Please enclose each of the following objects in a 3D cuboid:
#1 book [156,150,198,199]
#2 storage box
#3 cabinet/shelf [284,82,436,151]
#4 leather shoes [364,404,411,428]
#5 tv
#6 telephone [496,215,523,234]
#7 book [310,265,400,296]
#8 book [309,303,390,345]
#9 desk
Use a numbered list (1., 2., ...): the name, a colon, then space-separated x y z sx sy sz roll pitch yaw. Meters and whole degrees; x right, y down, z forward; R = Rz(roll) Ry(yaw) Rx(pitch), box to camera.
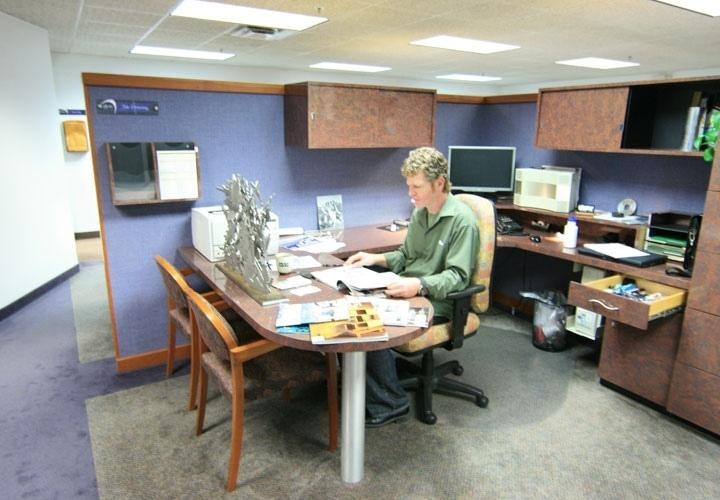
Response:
1. book: -1.522 -0.636 4.135 0.370 0.446 0.263 -8 14 -36
2. storage box: -1.042 -0.117 4.126 0.579 0.412 0.574 -7 16 -34
3. cabinet/shelf: 0.026 -1.273 4.773 1.485 0.533 0.434 -10 20 -37
4. leather shoes: 0.194 1.238 3.763 0.357 0.139 0.119 3 5 -29
5. tv: 1.196 -0.762 5.013 0.845 0.578 0.233 2 12 15
6. telephone: 1.395 -0.225 4.846 0.242 0.087 0.308 -3 16 -5
7. book: -0.048 0.194 3.517 0.277 0.068 0.296 -7 19 -41
8. book: -0.087 0.448 3.055 0.451 0.135 0.337 -2 13 -7
9. desk: -0.433 0.841 3.522 0.765 1.285 1.603 -13 18 -39
